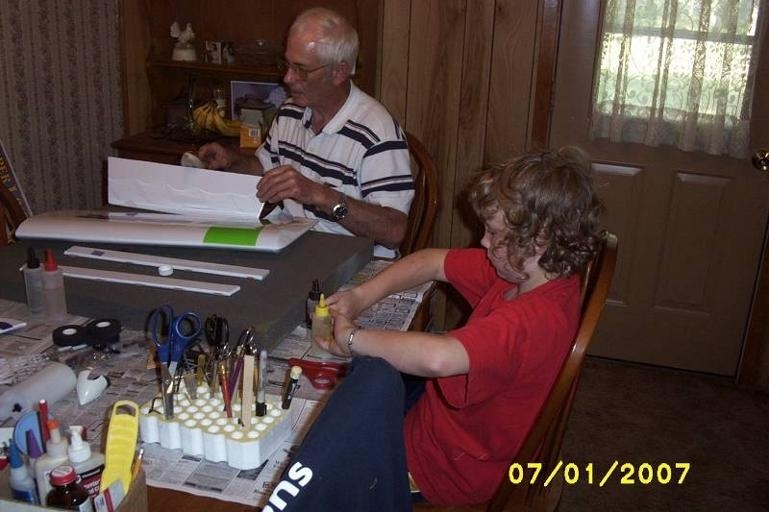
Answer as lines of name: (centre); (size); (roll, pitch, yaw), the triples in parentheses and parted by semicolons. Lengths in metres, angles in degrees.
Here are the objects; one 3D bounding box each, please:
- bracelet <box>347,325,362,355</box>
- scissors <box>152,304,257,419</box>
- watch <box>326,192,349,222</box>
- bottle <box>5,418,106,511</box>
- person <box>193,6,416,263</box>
bracelet: (-0.075, 0.223, 1.537); (0.036, 0.068, 0.067); (7, 27, 13)
scissors: (-0.429, 0.200, 1.402); (0.218, 0.196, 0.261); (-4, 19, -31)
watch: (-0.169, -0.178, 2.186); (0.065, 0.106, 0.100); (24, -14, -29)
bottle: (-0.596, 0.398, 1.120); (0.127, 0.164, 0.088); (0, 11, -17)
person: (-0.295, -0.523, 2.497); (0.675, 1.301, 0.793); (-19, 38, -36)
